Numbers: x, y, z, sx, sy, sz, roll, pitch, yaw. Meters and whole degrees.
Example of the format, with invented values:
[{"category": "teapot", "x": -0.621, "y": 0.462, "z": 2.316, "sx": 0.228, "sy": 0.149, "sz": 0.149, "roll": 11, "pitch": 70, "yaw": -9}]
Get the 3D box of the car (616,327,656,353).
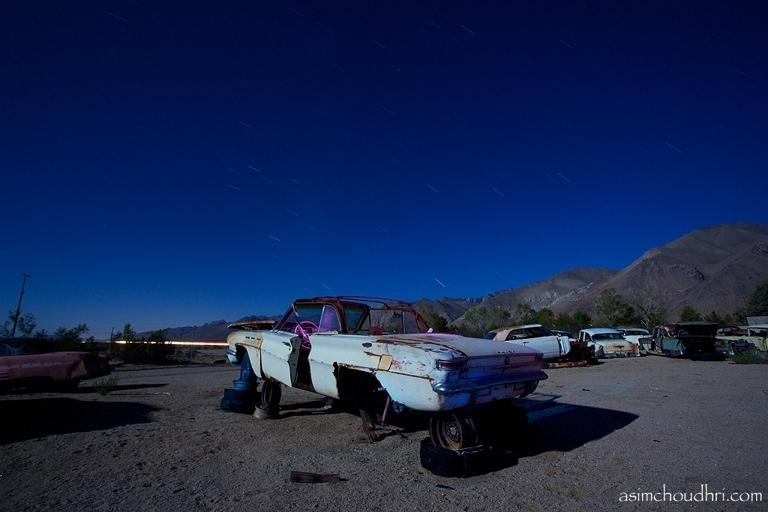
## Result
[{"category": "car", "x": 17.089, "y": 5.950, "z": 23.131, "sx": 2.925, "sy": 1.363, "sz": 1.809, "roll": 4, "pitch": -6, "yaw": 6}]
